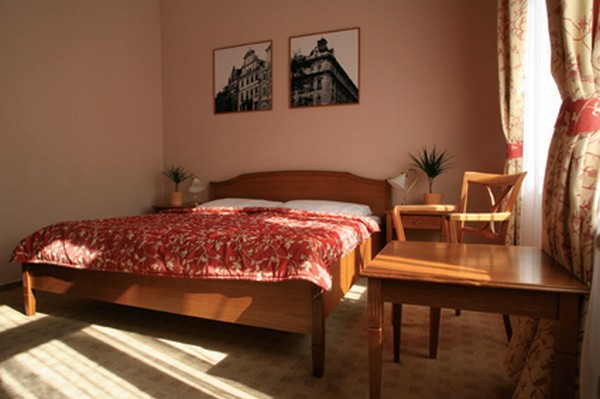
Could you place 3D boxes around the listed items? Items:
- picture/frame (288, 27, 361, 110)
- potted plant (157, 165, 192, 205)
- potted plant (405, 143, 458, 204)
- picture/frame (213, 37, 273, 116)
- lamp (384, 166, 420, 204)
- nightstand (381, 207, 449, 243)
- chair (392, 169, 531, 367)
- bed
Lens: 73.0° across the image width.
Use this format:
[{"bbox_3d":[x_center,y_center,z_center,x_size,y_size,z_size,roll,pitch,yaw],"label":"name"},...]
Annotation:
[{"bbox_3d":[0.337,-1.643,4.982,1.069,1.090,0.048,0,-1,19],"label":"picture/frame"},{"bbox_3d":[-1.761,-0.214,5.745,0.529,0.578,0.496,-2,2,-31],"label":"potted plant"},{"bbox_3d":[1.373,-0.293,4.703,0.596,0.705,0.525,-1,2,-7],"label":"potted plant"},{"bbox_3d":[-0.723,-1.659,5.362,1.088,1.059,0.042,0,0,22],"label":"picture/frame"},{"bbox_3d":[1.216,-0.161,4.656,0.443,0.508,0.319,1,3,-6],"label":"lamp"},{"bbox_3d":[1.150,0.173,3.998,0.553,0.530,0.416,1,0,23],"label":"nightstand"},{"bbox_3d":[1.219,0.452,3.251,0.960,1.319,1.011,1,3,15],"label":"chair"},{"bbox_3d":[-0.769,0.418,4.218,2.993,1.291,2.343,1,8,18],"label":"bed"}]
